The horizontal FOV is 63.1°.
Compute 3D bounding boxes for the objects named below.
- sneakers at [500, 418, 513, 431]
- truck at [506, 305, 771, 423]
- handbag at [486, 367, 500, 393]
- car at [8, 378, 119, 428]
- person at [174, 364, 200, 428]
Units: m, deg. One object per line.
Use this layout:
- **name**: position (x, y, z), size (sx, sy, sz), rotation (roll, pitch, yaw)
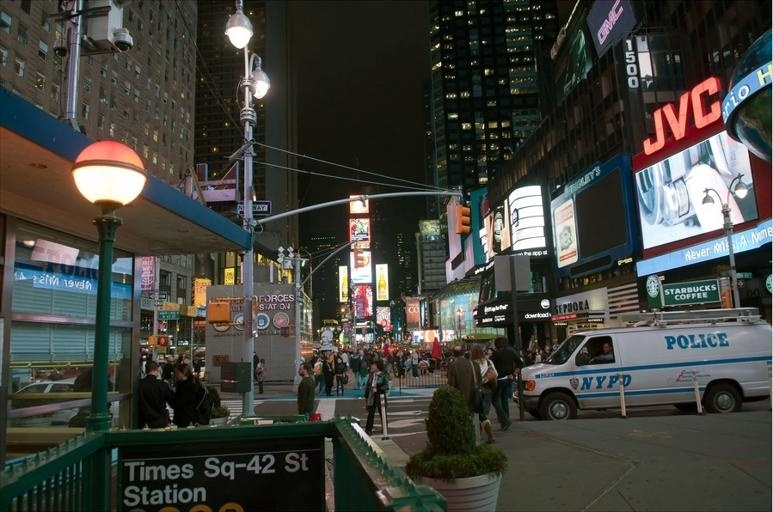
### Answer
- **sneakers**: position (3.436, 4.905, 18.215), size (0.180, 0.199, 0.457), rotation (-25, -27, -30)
- **truck**: position (8.227, 3.397, 19.589), size (7.273, 3.180, 0.531), rotation (-5, -12, -1)
- **handbag**: position (2.870, 3.409, 17.508), size (0.491, 0.943, 0.679), rotation (-3, -6, 10)
- **car**: position (-7.334, 3.315, 14.092), size (1.770, 0.629, 0.849), rotation (2, -5, -18)
- **person**: position (-4.766, 3.261, 14.898), size (0.606, 1.481, 0.681), rotation (-3, -13, -7)
